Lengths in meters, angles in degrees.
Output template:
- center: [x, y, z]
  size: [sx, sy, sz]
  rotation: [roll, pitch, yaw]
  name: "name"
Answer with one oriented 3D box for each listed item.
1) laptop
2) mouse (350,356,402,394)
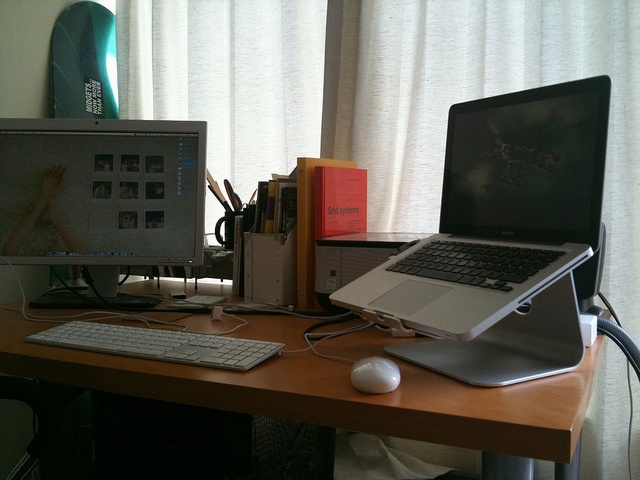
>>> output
- center: [0.350, -0.072, 1.298]
  size: [0.625, 0.571, 0.570]
  rotation: [-8, 10, -36]
  name: "laptop"
- center: [0.114, 0.251, 1.012]
  size: [0.100, 0.053, 0.091]
  rotation: [0, 0, -6]
  name: "mouse"
